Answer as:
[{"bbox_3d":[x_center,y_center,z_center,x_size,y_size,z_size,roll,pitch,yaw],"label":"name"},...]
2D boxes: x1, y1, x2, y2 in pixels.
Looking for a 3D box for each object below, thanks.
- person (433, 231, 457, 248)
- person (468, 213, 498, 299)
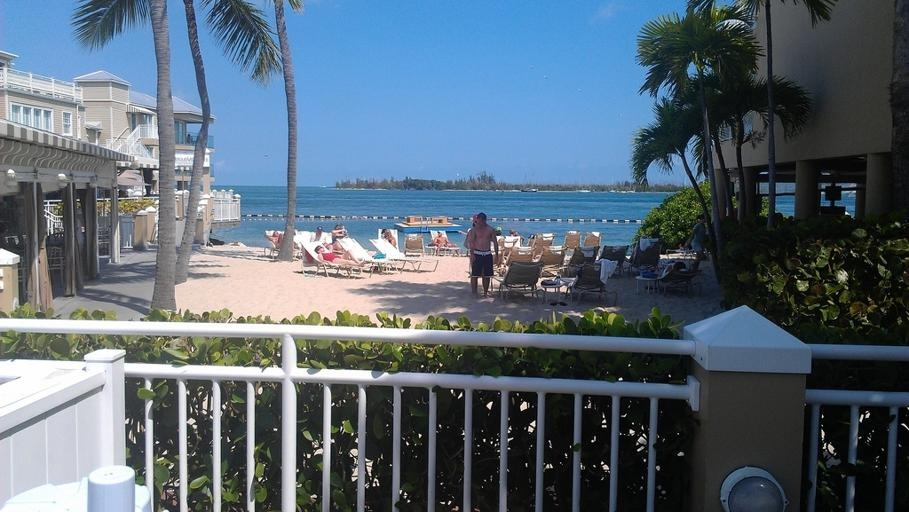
[{"bbox_3d":[-0.370,-0.655,29.330,0.717,0.282,0.966,5,26,-11],"label":"person"},{"bbox_3d":[0.553,-0.057,15.419,0.637,1.649,1.383,1,2,1],"label":"person"}]
